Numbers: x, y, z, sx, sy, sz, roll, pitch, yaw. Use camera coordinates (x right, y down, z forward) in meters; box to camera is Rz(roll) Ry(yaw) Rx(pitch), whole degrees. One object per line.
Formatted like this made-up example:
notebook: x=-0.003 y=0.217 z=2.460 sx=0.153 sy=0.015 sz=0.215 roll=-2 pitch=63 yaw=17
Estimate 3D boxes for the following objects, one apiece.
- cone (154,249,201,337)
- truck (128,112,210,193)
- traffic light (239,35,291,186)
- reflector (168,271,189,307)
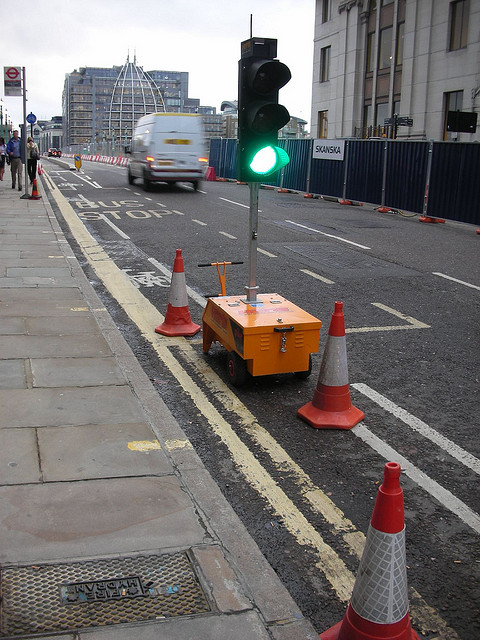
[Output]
cone: x=-0.804 y=-0.357 z=6.374 sx=0.541 sy=1.031 sz=0.516 roll=-1 pitch=9 yaw=-19
truck: x=-3.498 y=-8.409 z=25.665 sx=2.743 sy=3.898 sz=3.967 roll=-4 pitch=14 yaw=-20
traffic light: x=0.275 y=-1.963 z=4.927 sx=0.519 sy=1.297 sz=0.426 roll=-7 pitch=27 yaw=3
reflector: x=-0.738 y=-0.376 z=6.213 sx=0.213 sy=0.445 sz=0.212 roll=0 pitch=13 yaw=-7
